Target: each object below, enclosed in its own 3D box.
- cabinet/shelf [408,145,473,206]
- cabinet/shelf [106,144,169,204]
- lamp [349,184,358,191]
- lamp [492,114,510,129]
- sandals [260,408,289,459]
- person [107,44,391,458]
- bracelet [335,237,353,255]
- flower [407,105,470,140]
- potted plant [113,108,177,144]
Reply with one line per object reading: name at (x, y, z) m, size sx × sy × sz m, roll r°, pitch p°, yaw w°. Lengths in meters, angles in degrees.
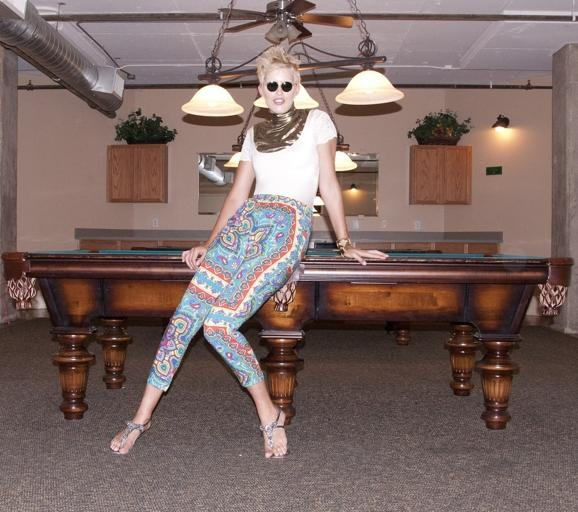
cabinet/shelf at (2.215, -1.182, 7.820) m, size 1.334 × 0.883 × 0.379 m, roll 0°, pitch 0°, yaw 6°
cabinet/shelf at (-2.198, -1.212, 7.834) m, size 1.276 × 0.811 × 0.345 m, roll 0°, pitch 0°, yaw -2°
lamp at (0.997, -1.058, 8.344) m, size 0.183 × 0.112 × 0.100 m, roll 0°, pitch -5°, yaw 2°
lamp at (2.962, -1.888, 7.628) m, size 0.289 × 0.187 × 0.180 m, roll -2°, pitch -1°, yaw -17°
sandals at (-0.073, 0.847, 2.624) m, size 0.126 × 0.227 × 0.103 m, roll -3°, pitch 6°, yaw 14°
person at (-0.197, -0.025, 2.644) m, size 1.139 × 1.987 × 0.428 m, roll -1°, pitch 5°, yaw -23°
bracelet at (0.278, -0.057, 2.754) m, size 0.071 × 0.079 × 0.035 m, roll -9°, pitch -3°, yaw 15°
flower at (2.159, -1.849, 7.753) m, size 0.740 × 0.269 × 0.700 m, roll -5°, pitch 4°, yaw -37°
potted plant at (-2.072, -1.801, 7.985) m, size 0.957 × 0.358 × 0.673 m, roll 1°, pitch 1°, yaw 2°
